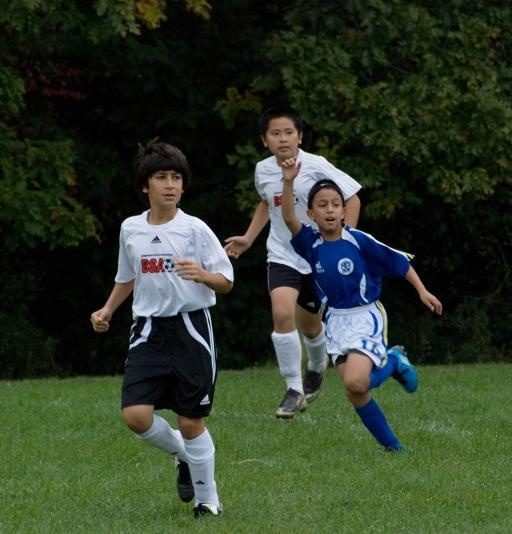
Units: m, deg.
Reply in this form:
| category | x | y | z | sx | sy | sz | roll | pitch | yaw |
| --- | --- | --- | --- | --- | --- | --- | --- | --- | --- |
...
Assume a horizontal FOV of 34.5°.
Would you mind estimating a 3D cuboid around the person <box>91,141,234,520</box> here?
| category | x | y | z | sx | sy | sz | roll | pitch | yaw |
| --- | --- | --- | --- | --- | --- | --- | --- | --- | --- |
| person | -0.465 | 0.459 | 4.013 | 0.637 | 1.423 | 0.502 | 0 | 5 | 23 |

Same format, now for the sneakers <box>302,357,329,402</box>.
| category | x | y | z | sx | sy | sz | roll | pitch | yaw |
| --- | --- | --- | --- | --- | --- | --- | --- | --- | --- |
| sneakers | 0.422 | 0.828 | 5.922 | 0.093 | 0.328 | 0.132 | 5 | -11 | 31 |

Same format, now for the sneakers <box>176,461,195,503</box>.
| category | x | y | z | sx | sy | sz | roll | pitch | yaw |
| --- | --- | --- | --- | --- | --- | --- | --- | --- | --- |
| sneakers | -0.341 | 1.048 | 4.026 | 0.063 | 0.225 | 0.087 | -6 | 4 | 3 |

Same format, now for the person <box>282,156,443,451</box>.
| category | x | y | z | sx | sy | sz | roll | pitch | yaw |
| --- | --- | --- | --- | --- | --- | --- | --- | --- | --- |
| person | 0.539 | 0.079 | 4.585 | 0.771 | 1.377 | 0.578 | -2 | 5 | 1 |

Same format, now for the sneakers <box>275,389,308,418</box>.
| category | x | y | z | sx | sy | sz | roll | pitch | yaw |
| --- | --- | --- | --- | --- | --- | --- | --- | --- | --- |
| sneakers | 0.232 | 0.904 | 5.412 | 0.089 | 0.163 | 0.286 | -3 | -5 | 20 |
